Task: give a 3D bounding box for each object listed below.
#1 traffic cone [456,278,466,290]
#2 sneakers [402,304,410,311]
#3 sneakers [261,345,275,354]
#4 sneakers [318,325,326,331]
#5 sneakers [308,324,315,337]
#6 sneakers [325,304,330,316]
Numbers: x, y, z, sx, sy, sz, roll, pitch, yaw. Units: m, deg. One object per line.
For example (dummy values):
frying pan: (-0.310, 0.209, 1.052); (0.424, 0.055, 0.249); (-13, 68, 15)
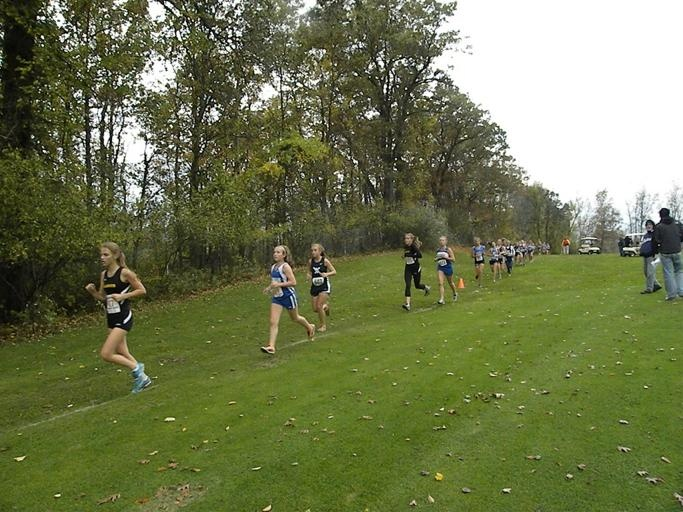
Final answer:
traffic cone: (4.930, 1.103, 23.300); (0.426, 0.507, 0.447); (-2, -1, -14)
sneakers: (2.153, 1.679, 18.709); (0.121, 0.148, 0.324); (-3, -47, 19)
sneakers: (-1.680, 2.132, 13.189); (0.169, 0.186, 0.396); (-27, -42, 22)
sneakers: (-0.519, 1.928, 15.668); (0.135, 0.211, 0.298); (-4, -17, 11)
sneakers: (-0.737, 1.907, 14.587); (0.144, 0.178, 0.425); (0, -45, -2)
sneakers: (-0.376, 1.529, 16.144); (0.123, 0.398, 0.171); (-7, 23, 2)
